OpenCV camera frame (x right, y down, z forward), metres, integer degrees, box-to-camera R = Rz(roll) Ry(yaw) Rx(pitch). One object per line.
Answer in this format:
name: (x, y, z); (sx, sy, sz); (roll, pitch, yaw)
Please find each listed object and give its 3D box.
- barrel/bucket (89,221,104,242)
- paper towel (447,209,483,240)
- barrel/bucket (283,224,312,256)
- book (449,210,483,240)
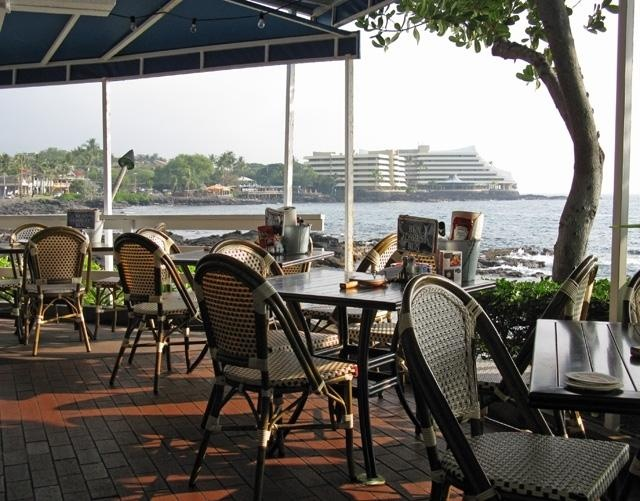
barrel/bucket: (-2.495, -0.183, 6.000); (0.188, 0.198, 0.212); (-1, -7, -1)
paper towel: (0.849, -0.151, 3.014); (0.178, 0.188, 0.182); (0, 3, 22)
barrel/bucket: (-0.193, -0.088, 4.395); (0.254, 0.201, 0.258); (-1, -7, 0)
book: (0.815, -0.139, 3.026); (0.172, 0.190, 0.181); (-3, -14, 29)
